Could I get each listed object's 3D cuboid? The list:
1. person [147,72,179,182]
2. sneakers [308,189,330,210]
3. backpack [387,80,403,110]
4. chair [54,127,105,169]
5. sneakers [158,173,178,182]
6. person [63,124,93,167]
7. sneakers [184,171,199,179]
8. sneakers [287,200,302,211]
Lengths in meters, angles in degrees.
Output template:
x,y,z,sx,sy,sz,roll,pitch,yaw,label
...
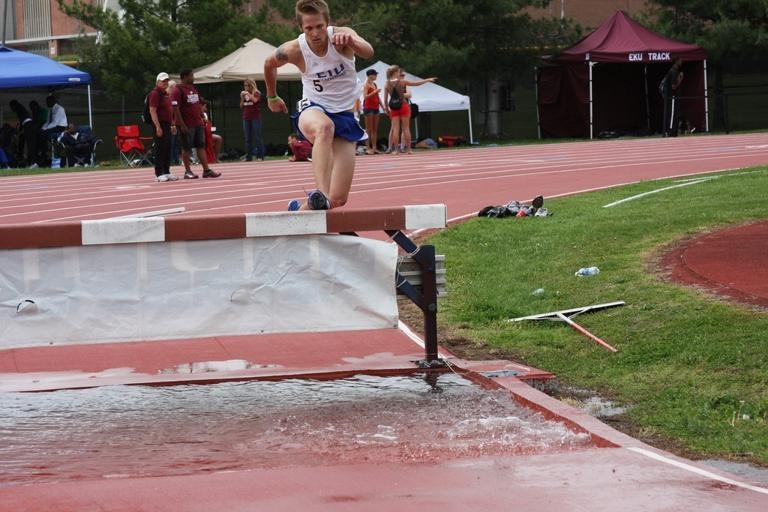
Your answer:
x,y,z,sx,sy,sz,roll,pitch,yaw,label
-3.776,-2.141,16.983,0.395,1.806,1.105,-5,8,-12,person
-0.458,-0.411,7.559,0.090,0.103,0.226,-36,-14,-10,sneakers
0.394,-3.486,21.861,0.367,0.613,0.288,-2,8,10,backpack
-7.422,-2.691,24.215,1.136,0.803,0.911,3,19,15,chair
-3.815,-1.355,17.527,0.380,0.114,0.137,-3,9,-3,sneakers
-7.510,-2.651,24.267,0.731,0.988,0.704,-3,8,0,person
-3.498,-1.424,17.778,0.310,0.100,0.125,1,6,38,sneakers
-0.703,-0.410,8.326,0.113,0.101,0.281,-1,-2,-13,sneakers
